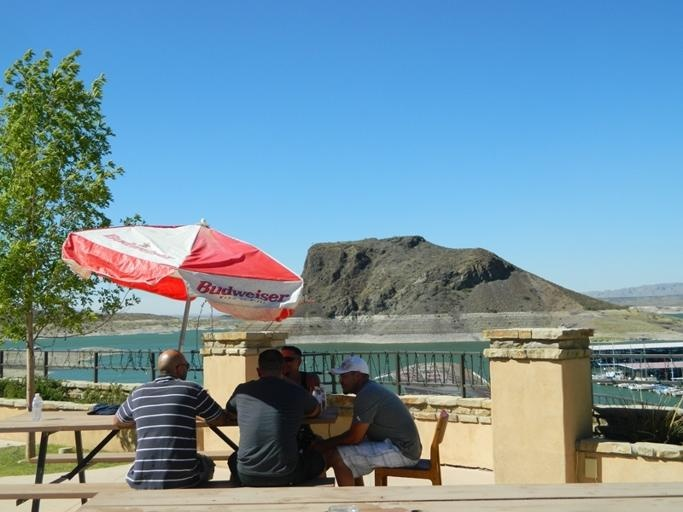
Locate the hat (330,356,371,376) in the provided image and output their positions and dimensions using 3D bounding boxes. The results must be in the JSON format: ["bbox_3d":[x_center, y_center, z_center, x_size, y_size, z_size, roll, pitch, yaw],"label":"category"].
[{"bbox_3d":[0.096,1.281,9.317,0.467,0.181,0.250,0,-9,-2],"label":"hat"}]

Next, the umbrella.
[{"bbox_3d":[-2.118,0.435,9.987,2.603,1.370,2.204,10,13,-17],"label":"umbrella"}]

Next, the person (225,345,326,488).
[{"bbox_3d":[-0.670,1.731,8.706,1.002,1.424,0.618,1,-9,-12],"label":"person"}]

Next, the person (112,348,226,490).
[{"bbox_3d":[-1.759,1.706,8.491,0.953,1.430,0.913,3,-10,-29],"label":"person"}]
